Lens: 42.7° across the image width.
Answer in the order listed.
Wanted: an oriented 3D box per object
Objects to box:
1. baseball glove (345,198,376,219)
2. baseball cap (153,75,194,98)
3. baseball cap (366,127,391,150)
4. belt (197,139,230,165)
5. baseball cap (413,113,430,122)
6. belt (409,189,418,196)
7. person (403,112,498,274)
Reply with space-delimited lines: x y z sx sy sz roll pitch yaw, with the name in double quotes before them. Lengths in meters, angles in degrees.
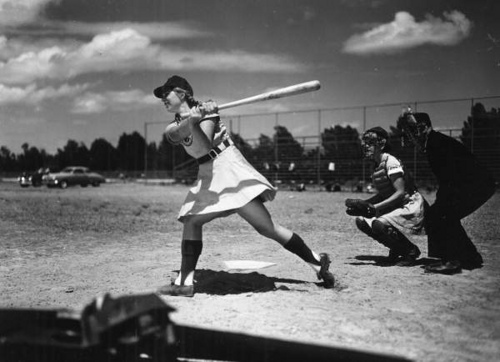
"baseball glove" 1.556 0.432 9.149 0.262 0.356 0.148 -57 -13 -34
"baseball cap" -1.004 -1.218 8.206 0.495 0.231 0.254 -3 2 -2
"baseball cap" 1.897 -0.672 9.457 0.344 0.267 0.366 -29 33 30
"belt" -0.468 -0.330 8.136 0.328 0.085 0.294 -38 0 3
"baseball cap" 2.441 -0.901 9.087 0.267 0.122 0.083 -4 2 -26
"belt" 2.339 0.180 9.198 0.080 0.029 0.096 -26 -5 25
"person" 2.795 0.151 8.896 1.128 2.250 0.381 -3 2 13
